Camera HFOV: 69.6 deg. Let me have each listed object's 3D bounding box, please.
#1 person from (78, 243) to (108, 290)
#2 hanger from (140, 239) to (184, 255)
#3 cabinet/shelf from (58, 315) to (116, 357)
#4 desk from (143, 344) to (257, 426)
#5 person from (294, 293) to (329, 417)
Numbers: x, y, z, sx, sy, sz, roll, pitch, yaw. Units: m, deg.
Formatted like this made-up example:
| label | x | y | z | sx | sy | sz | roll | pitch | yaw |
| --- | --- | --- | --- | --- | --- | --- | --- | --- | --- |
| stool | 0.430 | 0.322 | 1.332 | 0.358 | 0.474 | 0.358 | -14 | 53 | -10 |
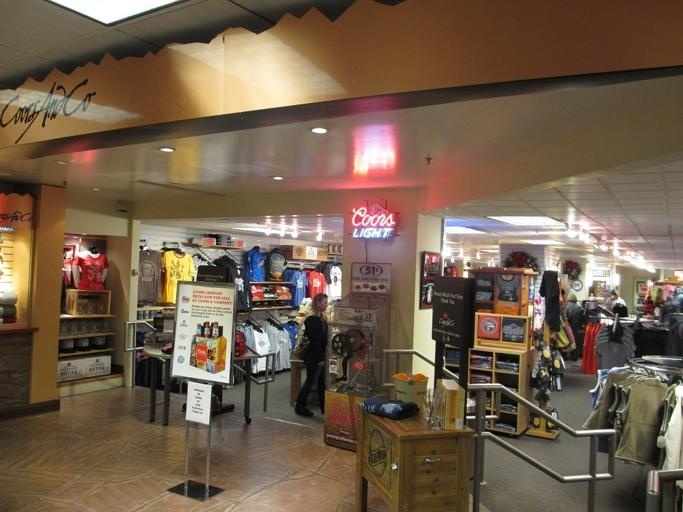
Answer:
| label | x | y | z | sx | sy | sz | roll | pitch | yaw |
| --- | --- | --- | --- | --- | --- | --- | --- | --- | --- |
| person | -4.642 | 0.216 | 9.206 | 0.601 | 0.800 | 0.410 | 1 | 1 | -44 |
| hanger | -3.792 | -0.201 | 10.352 | 0.920 | 0.318 | 0.263 | -3 | 0 | -27 |
| cabinet/shelf | -4.636 | 1.405 | 9.123 | 1.242 | 0.694 | 0.408 | -4 | 0 | 18 |
| desk | -2.208 | 1.950 | 7.441 | 1.574 | 0.951 | 1.548 | 2 | -4 | -6 |
| person | -0.482 | 1.568 | 7.947 | 0.461 | 1.581 | 0.561 | 2 | 1 | -5 |
